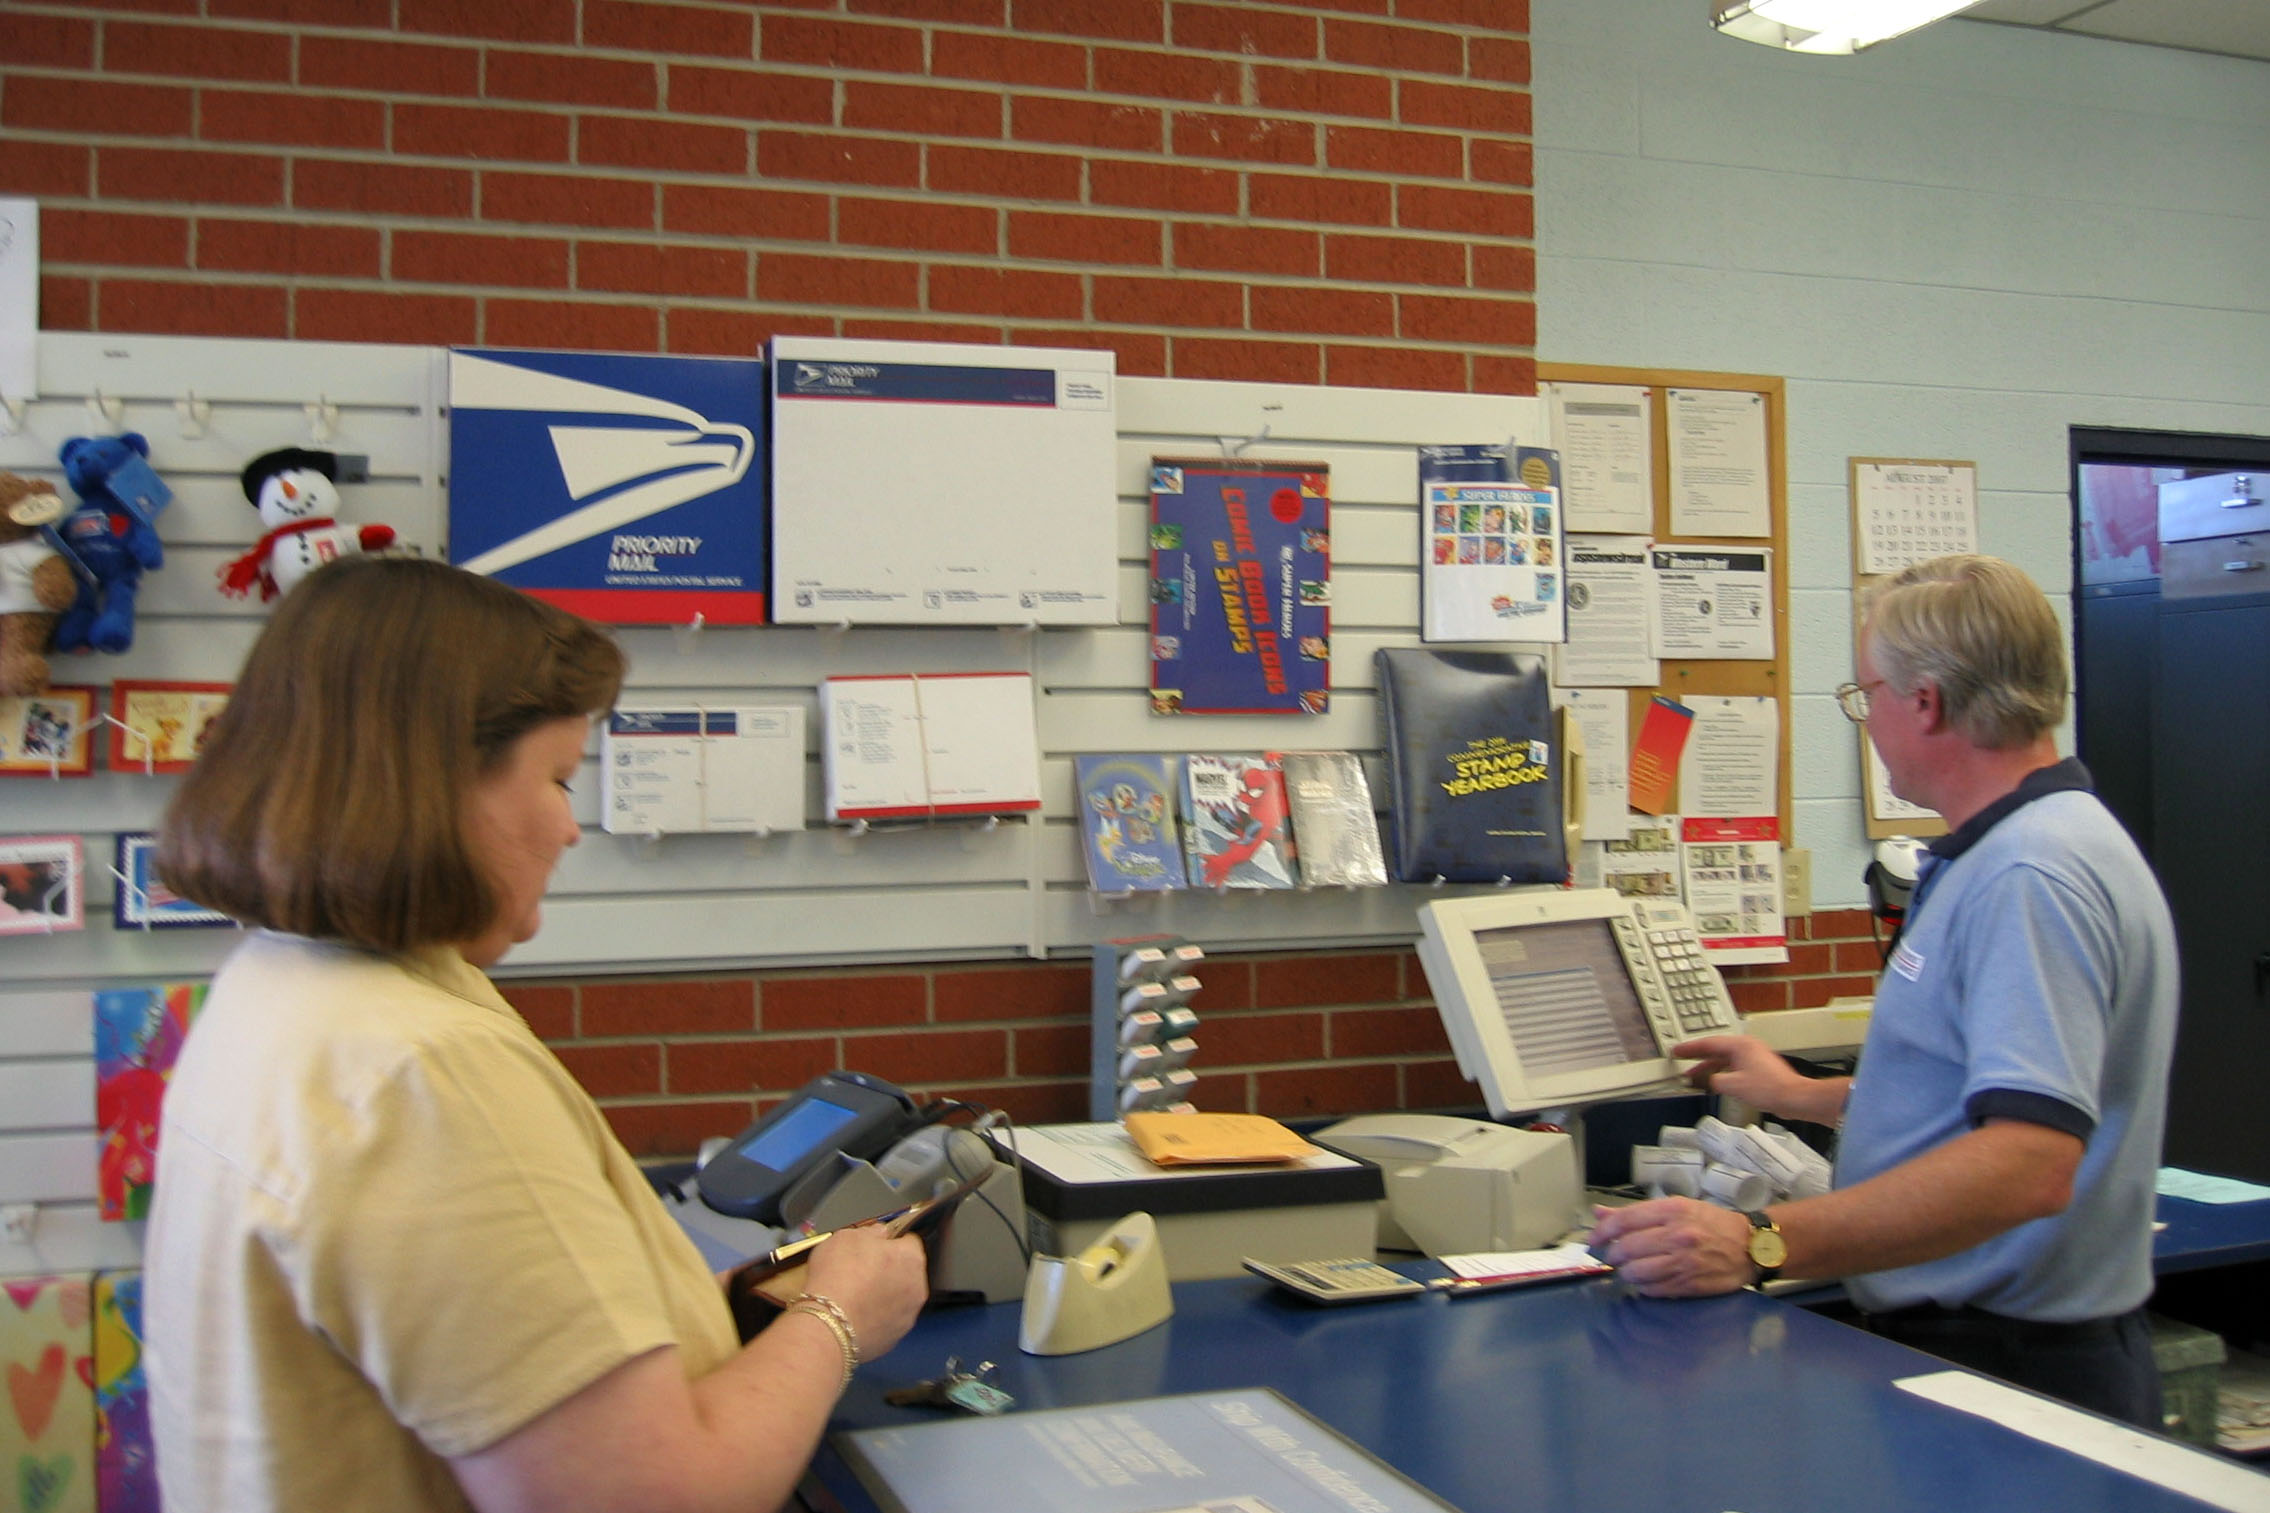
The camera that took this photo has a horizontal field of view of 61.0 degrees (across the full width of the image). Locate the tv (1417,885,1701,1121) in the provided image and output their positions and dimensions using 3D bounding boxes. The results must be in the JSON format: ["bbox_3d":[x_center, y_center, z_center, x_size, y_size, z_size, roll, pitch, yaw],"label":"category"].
[{"bbox_3d":[0.793,0.465,3.579,0.516,0.451,0.102,-11,-28,-24],"label":"tv"}]

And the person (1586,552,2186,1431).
[{"bbox_3d":[1.256,0.384,3.084,0.690,1.401,0.597,-1,3,28],"label":"person"}]

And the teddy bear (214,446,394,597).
[{"bbox_3d":[-1.518,-0.405,3.511,0.320,0.305,0.160,-12,-3,-6],"label":"teddy bear"}]

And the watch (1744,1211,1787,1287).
[{"bbox_3d":[0.965,0.772,2.990,0.064,0.102,0.094,-1,-2,-3],"label":"watch"}]

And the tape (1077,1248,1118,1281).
[{"bbox_3d":[-0.062,0.775,2.931,0.040,0.016,0.038,27,41,29],"label":"tape"}]

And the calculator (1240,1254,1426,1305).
[{"bbox_3d":[0.314,0.834,3.078,0.269,0.050,0.165,-3,3,-13],"label":"calculator"}]

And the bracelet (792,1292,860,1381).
[{"bbox_3d":[-0.407,0.750,2.518,0.087,0.092,0.037,11,41,30],"label":"bracelet"}]
